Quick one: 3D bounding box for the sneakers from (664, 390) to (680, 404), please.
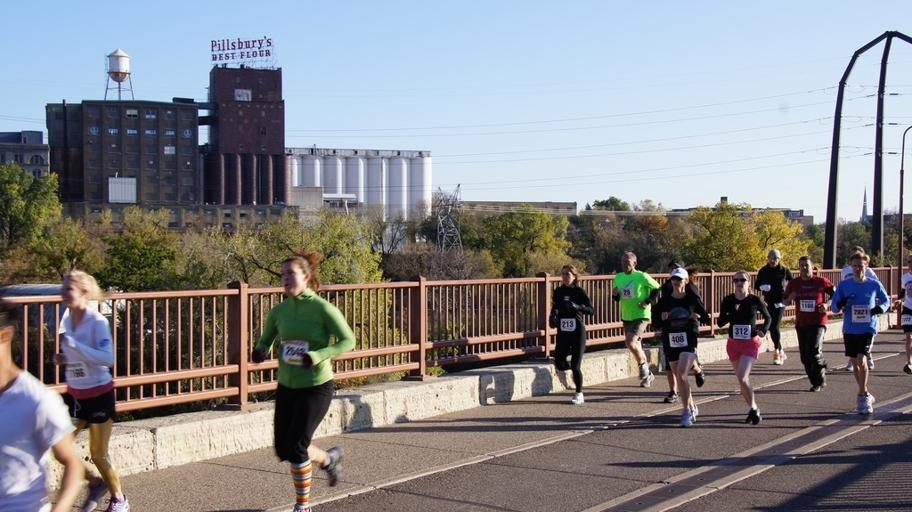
[{"bbox_3d":[4.330,2.859,19.618,0.157,0.177,0.398,-6,-3,27],"label":"sneakers"}]

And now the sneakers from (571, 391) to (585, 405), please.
[{"bbox_3d":[2.412,2.833,19.358,0.246,0.221,0.377,-1,1,7],"label":"sneakers"}]

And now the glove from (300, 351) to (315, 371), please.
[{"bbox_3d":[-2.232,1.566,14.387,0.067,0.211,0.222,-7,1,-33],"label":"glove"}]

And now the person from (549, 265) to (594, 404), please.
[{"bbox_3d":[2.272,1.563,19.461,0.829,2.760,0.621,-1,1,5],"label":"person"}]

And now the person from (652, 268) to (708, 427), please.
[{"bbox_3d":[4.276,1.669,18.352,0.713,2.906,1.024,-2,1,-21],"label":"person"}]

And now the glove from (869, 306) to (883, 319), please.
[{"bbox_3d":[8.351,1.079,19.304,0.226,0.189,0.545,0,1,24],"label":"glove"}]

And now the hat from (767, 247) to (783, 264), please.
[{"bbox_3d":[7.534,0.021,23.015,0.228,0.397,0.710,-1,1,13],"label":"hat"}]

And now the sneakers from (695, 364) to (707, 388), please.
[{"bbox_3d":[5.160,2.575,20.592,0.209,0.612,0.268,-12,-2,12],"label":"sneakers"}]

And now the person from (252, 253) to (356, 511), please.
[{"bbox_3d":[-2.304,1.878,14.713,1.232,3.831,0.755,-1,1,-10],"label":"person"}]

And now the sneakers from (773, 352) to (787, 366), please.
[{"bbox_3d":[7.799,2.458,23.453,0.177,0.227,0.544,-6,-3,22],"label":"sneakers"}]

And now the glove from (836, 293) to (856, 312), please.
[{"bbox_3d":[7.783,0.920,19.379,0.204,0.235,0.767,-1,-15,12],"label":"glove"}]

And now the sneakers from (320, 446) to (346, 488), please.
[{"bbox_3d":[-1.943,3.305,15.023,0.249,0.680,0.303,7,14,39],"label":"sneakers"}]

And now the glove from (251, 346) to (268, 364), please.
[{"bbox_3d":[-2.998,1.526,14.693,0.244,0.281,0.299,4,30,-6],"label":"glove"}]

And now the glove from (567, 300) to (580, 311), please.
[{"bbox_3d":[2.325,0.987,19.329,0.166,0.065,0.227,8,7,-33],"label":"glove"}]

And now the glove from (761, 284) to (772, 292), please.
[{"bbox_3d":[7.398,0.752,23.161,0.168,0.115,0.299,-4,-3,7],"label":"glove"}]
